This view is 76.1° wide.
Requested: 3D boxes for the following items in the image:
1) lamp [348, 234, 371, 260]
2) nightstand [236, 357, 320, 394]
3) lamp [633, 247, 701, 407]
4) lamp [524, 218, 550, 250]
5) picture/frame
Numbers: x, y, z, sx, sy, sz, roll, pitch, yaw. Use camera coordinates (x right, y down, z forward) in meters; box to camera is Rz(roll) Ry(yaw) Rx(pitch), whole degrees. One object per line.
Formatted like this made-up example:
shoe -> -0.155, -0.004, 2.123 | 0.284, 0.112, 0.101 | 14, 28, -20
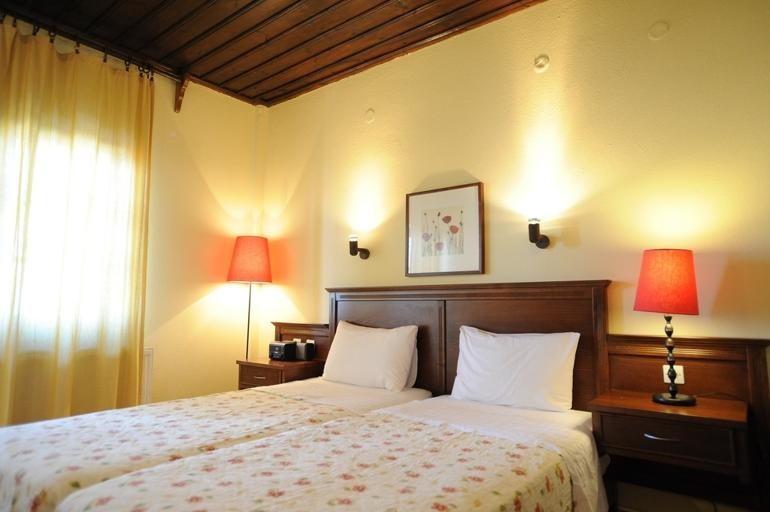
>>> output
lamp -> -0.278, -0.089, 4.746 | 0.217, 0.230, 0.177 | -1, -3, 43
nightstand -> -0.995, 1.011, 4.749 | 0.518, 0.492, 0.389 | -4, -7, 41
lamp -> 1.864, 0.448, 3.266 | 0.350, 0.991, 0.351 | 0, -2, 32
lamp -> 1.206, -0.180, 3.840 | 0.163, 0.223, 0.145 | 1, -2, 18
picture/frame -> 0.562, -0.222, 4.252 | 0.840, 0.838, 0.060 | -5, -9, 38
